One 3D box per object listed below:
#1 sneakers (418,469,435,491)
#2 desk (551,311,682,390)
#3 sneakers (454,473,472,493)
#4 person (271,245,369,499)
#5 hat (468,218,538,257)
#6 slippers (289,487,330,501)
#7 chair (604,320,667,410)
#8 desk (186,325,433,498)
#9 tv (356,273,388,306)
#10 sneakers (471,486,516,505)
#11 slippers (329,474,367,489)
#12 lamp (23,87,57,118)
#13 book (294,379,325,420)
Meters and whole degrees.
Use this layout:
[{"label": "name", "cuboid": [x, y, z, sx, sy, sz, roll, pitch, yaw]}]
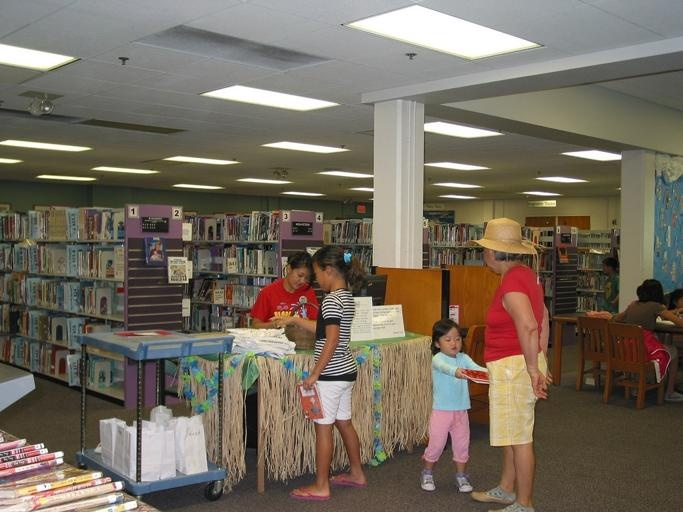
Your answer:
[{"label": "sneakers", "cuboid": [0.680, 1.779, 4.328, 0.071, 0.076, 0.190, 1, -7, 0]}, {"label": "desk", "cuboid": [3.649, 1.257, 7.175, 1.188, 0.701, 1.145, 0, -1, 37]}, {"label": "sneakers", "cuboid": [0.962, 1.784, 4.328, 0.078, 0.072, 0.189, -4, -8, -6]}, {"label": "person", "cuboid": [-0.114, 0.874, 4.124, 0.542, 1.882, 0.559, 1, -1, 10]}, {"label": "hat", "cuboid": [1.159, -0.146, 3.971, 0.487, 0.246, 0.493, 5, 4, -42]}, {"label": "slippers", "cuboid": [-0.243, 1.784, 4.089, 0.226, 0.058, 0.103, 3, -3, 3]}, {"label": "chair", "cuboid": [3.716, 1.337, 6.969, 0.640, 1.023, 1.302, 0, -2, 30]}, {"label": "desk", "cuboid": [-0.440, 0.893, 4.723, 1.849, 0.878, 1.113, -1, -1, -39]}, {"label": "tv", "cuboid": [0.350, 0.314, 5.260, 0.347, 0.315, 0.277, 3, -2, -36]}, {"label": "sneakers", "cuboid": [1.154, 1.789, 4.160, 0.310, 0.118, 0.128, 1, -4, 14]}, {"label": "slippers", "cuboid": [0.056, 1.754, 4.319, 0.231, 0.061, 0.106, 2, 0, 16]}, {"label": "lamp", "cuboid": [-3.565, -1.777, 6.520, 0.368, 0.128, 0.355, 2, 22, -34]}, {"label": "book", "cuboid": [-0.214, 1.062, 3.984, 0.173, 0.294, 0.157, 1, -2, -11]}]
